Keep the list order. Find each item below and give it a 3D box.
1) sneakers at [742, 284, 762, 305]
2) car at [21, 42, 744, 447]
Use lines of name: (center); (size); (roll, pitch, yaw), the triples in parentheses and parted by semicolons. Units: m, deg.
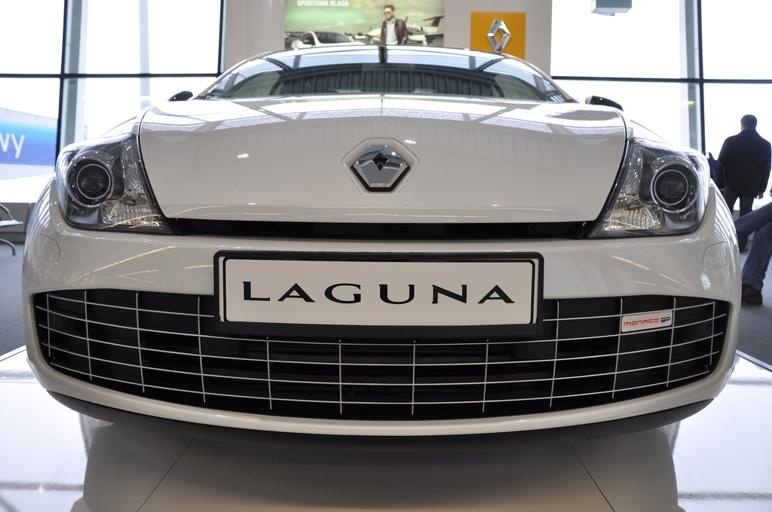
sneakers: (1.986, 0.208, 3.672); (0.108, 0.112, 0.072); (-2, -3, 10)
car: (-0.013, -0.270, 3.330); (2.057, 1.488, 3.483); (0, 2, 0)
